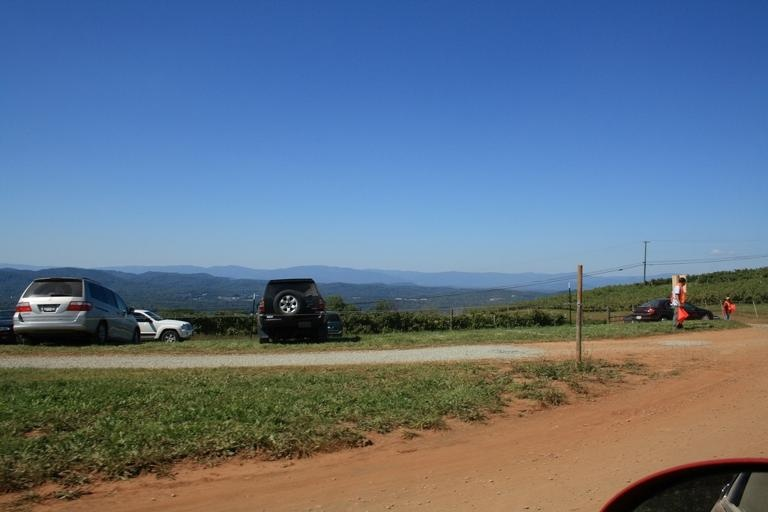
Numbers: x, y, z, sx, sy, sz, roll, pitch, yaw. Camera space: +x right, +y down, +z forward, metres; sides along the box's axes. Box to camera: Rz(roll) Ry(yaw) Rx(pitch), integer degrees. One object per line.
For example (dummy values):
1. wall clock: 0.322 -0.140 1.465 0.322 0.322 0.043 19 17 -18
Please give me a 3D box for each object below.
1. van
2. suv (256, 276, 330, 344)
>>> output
1. van: -10.275 1.957 19.833 2.190 1.296 4.147 0 -6 -3
2. suv: -3.256 2.028 22.411 2.821 1.815 4.488 -2 -3 1
